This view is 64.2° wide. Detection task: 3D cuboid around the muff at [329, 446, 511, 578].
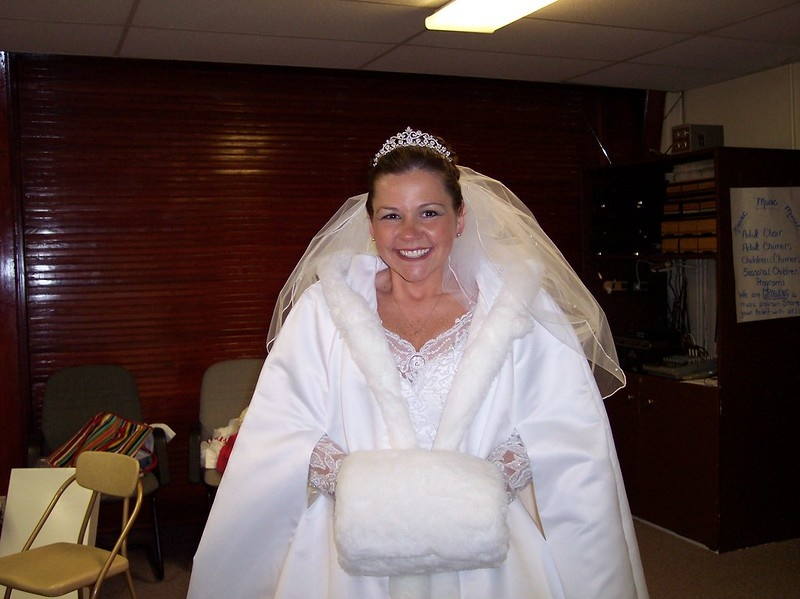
[{"bbox_3d":[0.057,0.607,1.904,0.517,0.339,0.415,-1,24,11],"label":"muff"}]
